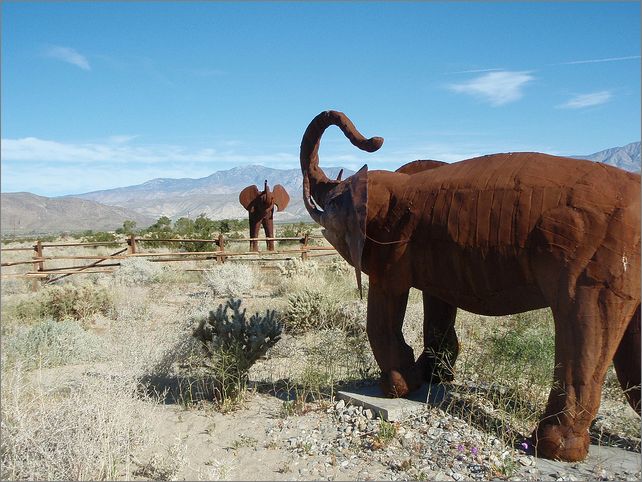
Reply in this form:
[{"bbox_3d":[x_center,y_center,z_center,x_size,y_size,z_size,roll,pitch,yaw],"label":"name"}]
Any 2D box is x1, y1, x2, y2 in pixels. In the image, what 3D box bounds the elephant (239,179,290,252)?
[{"bbox_3d":[-2.070,-1.003,17.691,1.369,2.032,2.442,0,-6,-10],"label":"elephant"}]
